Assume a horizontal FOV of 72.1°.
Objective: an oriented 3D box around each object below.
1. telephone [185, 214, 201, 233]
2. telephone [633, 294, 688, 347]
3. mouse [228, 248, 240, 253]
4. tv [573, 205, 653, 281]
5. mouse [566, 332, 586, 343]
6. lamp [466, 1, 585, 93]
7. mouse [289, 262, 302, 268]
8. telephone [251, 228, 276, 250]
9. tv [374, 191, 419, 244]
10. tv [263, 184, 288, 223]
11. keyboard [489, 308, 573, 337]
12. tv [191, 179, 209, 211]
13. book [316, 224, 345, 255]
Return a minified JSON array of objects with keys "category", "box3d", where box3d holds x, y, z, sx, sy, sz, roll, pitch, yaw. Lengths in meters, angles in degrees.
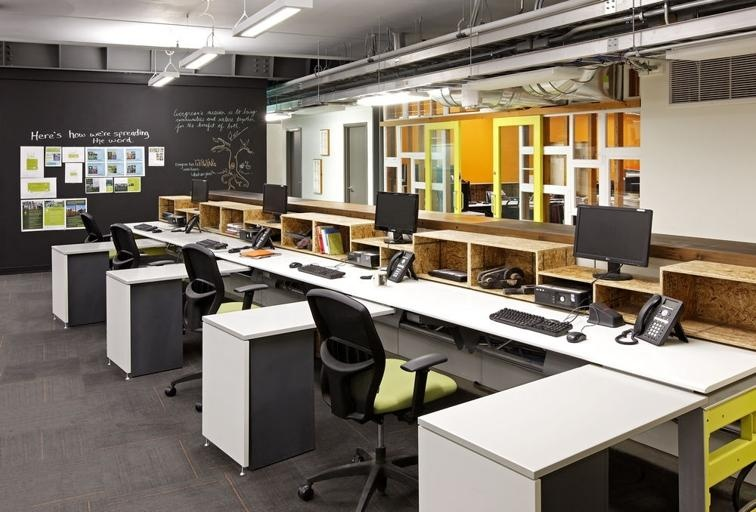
[{"category":"telephone","box3d":[-2.528,-0.437,7.273,0.110,0.299,0.216,36,-5,-20]},{"category":"telephone","box3d":[1.736,0.391,3.182,0.312,0.274,0.287,9,20,37]},{"category":"mouse","box3d":[-1.642,-0.068,5.939,0.061,0.023,0.085,9,11,44]},{"category":"tv","box3d":[1.623,-0.096,3.594,0.229,0.501,0.554,-12,14,-29]},{"category":"mouse","box3d":[1.208,0.495,3.171,0.113,0.035,0.110,5,15,20]},{"category":"lamp","box3d":[1.116,-1.586,4.118,0.702,0.163,0.724,-4,1,-26]},{"category":"mouse","box3d":[-0.812,0.086,5.112,0.058,0.031,0.102,5,7,34]},{"category":"telephone","box3d":[-1.320,-0.200,6.065,0.251,0.271,0.254,0,1,-38]},{"category":"tv","box3d":[0.195,-0.366,4.877,0.266,0.451,0.627,-5,10,-32]},{"category":"tv","box3d":[-1.187,-0.626,6.081,0.163,0.421,0.461,-6,13,-42]},{"category":"keyboard","box3d":[0.997,0.429,3.430,0.517,0.048,0.251,9,17,34]},{"category":"tv","box3d":[-2.618,-0.888,7.634,0.082,0.412,0.582,-1,2,-40]},{"category":"book","box3d":[-0.491,-0.173,5.469,0.304,0.289,0.077,-1,-1,-16]}]
